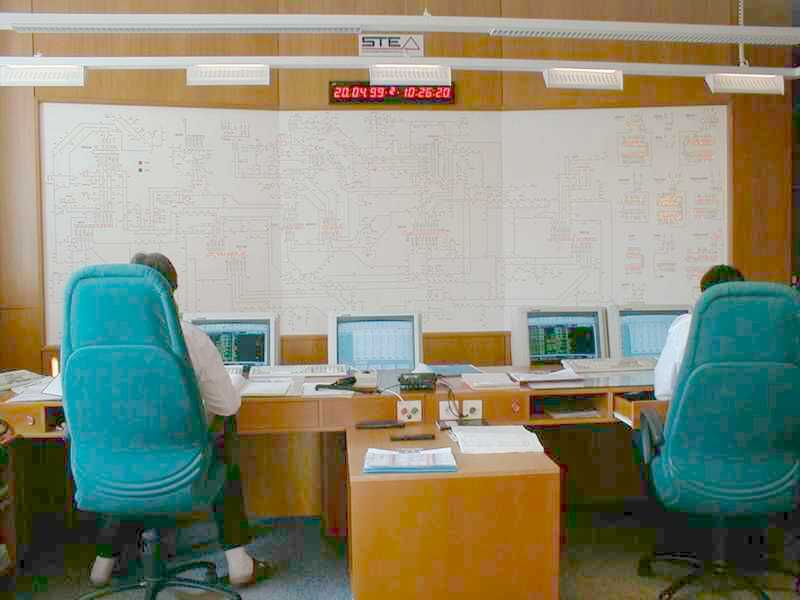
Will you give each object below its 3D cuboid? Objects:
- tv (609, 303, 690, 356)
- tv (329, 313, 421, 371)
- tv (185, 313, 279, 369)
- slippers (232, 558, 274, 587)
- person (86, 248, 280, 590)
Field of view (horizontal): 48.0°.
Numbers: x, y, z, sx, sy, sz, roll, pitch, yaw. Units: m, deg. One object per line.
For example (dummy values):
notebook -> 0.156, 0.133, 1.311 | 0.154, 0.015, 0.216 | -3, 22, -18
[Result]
tv -> 1.684, 0.215, 6.206 | 0.466, 0.334, 0.262 | 4, 8, 7
tv -> -0.156, 0.211, 6.139 | 0.643, 0.503, 0.368 | -1, 31, -3
tv -> -1.140, 0.277, 6.191 | 0.593, 0.436, 0.332 | 1, 5, -3
slippers -> -0.881, 1.663, 5.468 | 0.191, 0.086, 0.142 | 3, -4, -38
person -> -1.376, 0.695, 5.286 | 1.053, 2.143, 0.672 | 0, 18, -3
